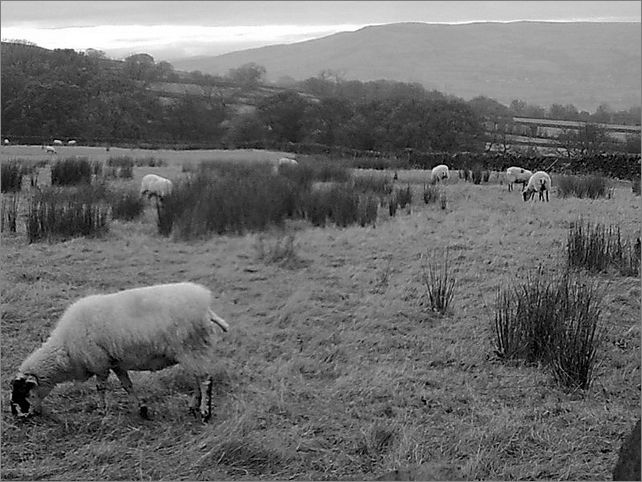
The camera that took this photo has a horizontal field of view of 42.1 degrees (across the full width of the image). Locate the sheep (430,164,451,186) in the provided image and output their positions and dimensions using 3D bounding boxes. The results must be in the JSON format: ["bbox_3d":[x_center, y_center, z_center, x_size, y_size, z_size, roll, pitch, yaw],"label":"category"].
[{"bbox_3d":[3.531,-1.991,24.697,0.308,0.669,1.152,3,16,12],"label":"sheep"}]

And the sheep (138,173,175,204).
[{"bbox_3d":[-3.553,-1.152,18.012,0.607,0.522,1.540,-3,7,-29],"label":"sheep"}]

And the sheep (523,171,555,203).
[{"bbox_3d":[5.150,-1.313,19.791,1.056,0.679,0.357,-15,16,-35],"label":"sheep"}]
